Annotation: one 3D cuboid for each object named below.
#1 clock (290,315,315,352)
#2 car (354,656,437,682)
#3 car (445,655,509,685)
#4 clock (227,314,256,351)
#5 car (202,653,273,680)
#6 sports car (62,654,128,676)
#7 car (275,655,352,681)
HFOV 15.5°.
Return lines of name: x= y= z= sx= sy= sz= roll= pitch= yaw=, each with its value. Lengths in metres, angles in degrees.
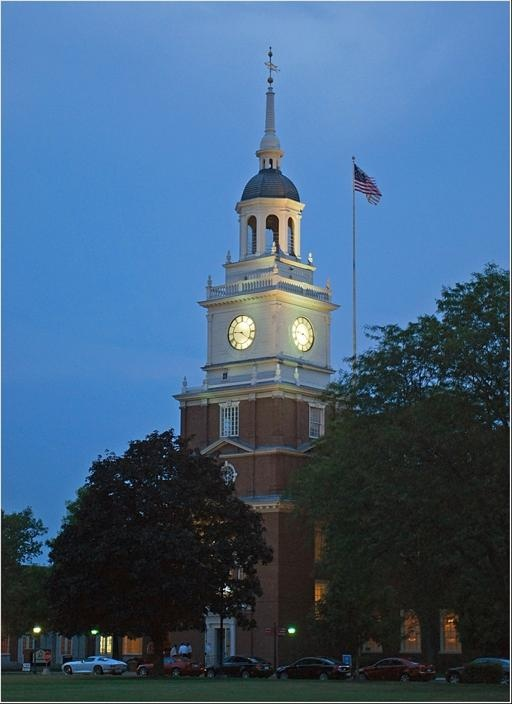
clock: x=2.805 y=-1.042 z=109.178 sx=0.092 sy=1.477 sz=1.482 roll=-7 pitch=-51 yaw=35
car: x=6.609 y=14.446 z=85.647 sx=3.007 sy=1.100 sz=1.322 roll=-1 pitch=-9 yaw=23
car: x=8.705 y=12.581 z=74.595 sx=3.238 sy=1.282 sz=1.479 roll=-9 pitch=-16 yaw=39
clock: x=-0.644 y=-1.124 z=108.718 sx=0.100 sy=1.792 sz=1.672 roll=9 pitch=6 yaw=-36
car: x=-0.621 y=15.034 z=90.093 sx=2.998 sy=1.093 sz=1.308 roll=-3 pitch=-12 yaw=28
sports car: x=-8.161 y=15.496 z=95.264 sx=2.918 sy=0.868 sz=1.371 roll=-6 pitch=-15 yaw=35
car: x=2.802 y=14.932 z=88.281 sx=1.303 sy=1.079 sz=3.651 roll=8 pitch=5 yaw=-38
